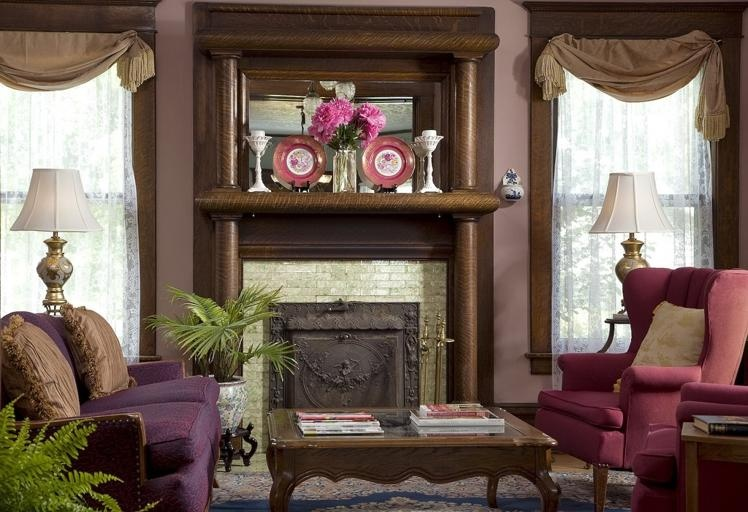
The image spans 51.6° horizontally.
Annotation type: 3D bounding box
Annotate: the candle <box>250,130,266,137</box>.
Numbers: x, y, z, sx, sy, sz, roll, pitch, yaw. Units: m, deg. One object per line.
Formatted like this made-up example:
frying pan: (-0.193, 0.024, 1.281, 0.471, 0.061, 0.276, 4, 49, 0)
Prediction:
candle: (-0.794, -0.832, 5.278, 0.068, 0.049, 0.067, -3, 7, -24)

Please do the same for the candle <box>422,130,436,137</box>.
candle: (0.381, -0.840, 5.324, 0.061, 0.039, 0.062, 4, 7, 14)

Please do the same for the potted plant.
potted plant: (-0.906, 0.601, 4.955, 0.973, 1.001, 0.859, -1, -8, 2)

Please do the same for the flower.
flower: (-0.195, -0.753, 5.357, 0.517, 0.633, 0.233, 0, -2, -8)

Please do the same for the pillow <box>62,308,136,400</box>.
pillow: (-1.469, 0.534, 4.114, 0.235, 0.423, 0.452, -5, 0, -3)

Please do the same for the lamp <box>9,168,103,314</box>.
lamp: (-2.034, -0.100, 4.944, 0.513, 0.937, 0.487, 1, -2, -25)
